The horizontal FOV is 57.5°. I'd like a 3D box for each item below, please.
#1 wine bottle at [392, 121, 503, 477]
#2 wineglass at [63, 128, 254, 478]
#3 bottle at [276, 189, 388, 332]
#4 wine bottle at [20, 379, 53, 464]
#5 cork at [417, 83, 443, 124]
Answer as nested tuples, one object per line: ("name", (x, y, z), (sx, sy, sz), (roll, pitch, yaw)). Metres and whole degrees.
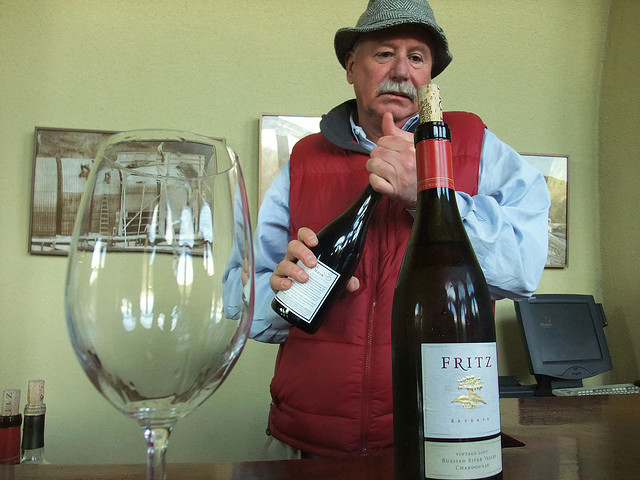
("wine bottle", (0.170, 0.125, 0.803), (0.140, 0.394, 0.066), (-1, -7, 5))
("wineglass", (-0.207, 0.078, 0.870), (0.257, 0.454, 0.241), (2, -9, -13))
("bottle", (0.040, 0.031, 1.235), (0.175, 0.315, 0.399), (-1, -7, 11))
("wine bottle", (-0.655, 0.416, 1.336), (0.075, 0.189, 0.072), (0, -8, 0))
("cork", (0.149, -0.197, 0.806), (0.034, 0.055, 0.033), (-5, 32, -2))
